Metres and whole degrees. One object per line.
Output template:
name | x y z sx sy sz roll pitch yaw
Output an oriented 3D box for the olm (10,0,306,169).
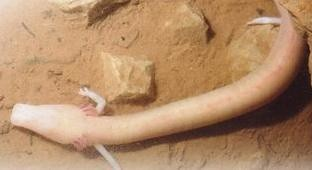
olm | 0.206 0.273 6.894 2.727 0.434 1.862 -16 76 9
